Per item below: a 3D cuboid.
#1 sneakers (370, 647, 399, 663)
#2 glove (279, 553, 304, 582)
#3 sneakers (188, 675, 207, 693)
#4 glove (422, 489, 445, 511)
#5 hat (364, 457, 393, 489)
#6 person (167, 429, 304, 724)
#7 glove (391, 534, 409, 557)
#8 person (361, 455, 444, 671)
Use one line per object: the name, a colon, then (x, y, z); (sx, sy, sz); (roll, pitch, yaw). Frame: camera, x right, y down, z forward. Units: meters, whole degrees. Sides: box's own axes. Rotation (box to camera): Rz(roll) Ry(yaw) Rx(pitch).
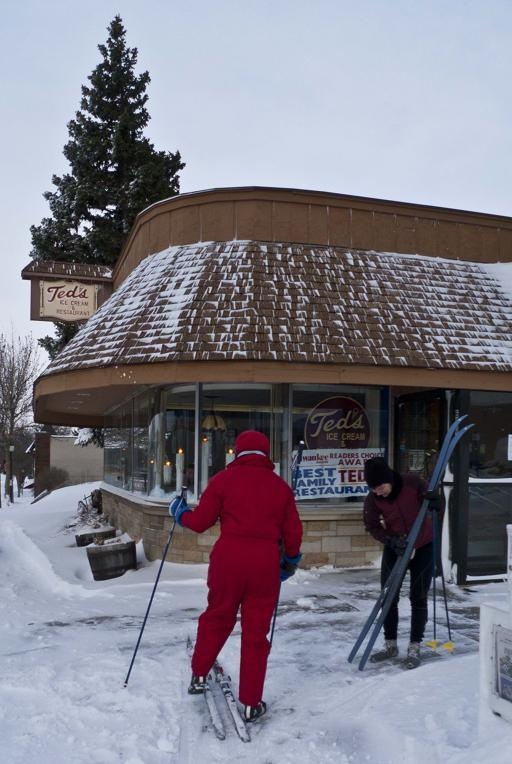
sneakers: (0.978, 2.054, 6.487); (0.250, 0.106, 0.083); (10, -15, -30)
glove: (0.235, 1.262, 5.878); (0.148, 0.192, 0.197); (0, -1, 16)
sneakers: (-0.387, 2.025, 5.746); (0.128, 0.123, 0.213); (3, -33, -8)
glove: (1.317, 0.867, 6.323); (0.102, 0.180, 0.170); (0, -13, 2)
hat: (0.902, 0.669, 6.285); (0.195, 0.243, 0.224); (-1, -1, 9)
person: (-0.102, 1.237, 5.620); (0.788, 1.822, 0.463); (0, -1, 1)
glove: (1.075, 1.218, 6.441); (0.057, 0.154, 0.107); (-4, 4, -43)
person: (1.112, 1.321, 6.497); (0.652, 1.540, 0.625); (0, -1, -4)
